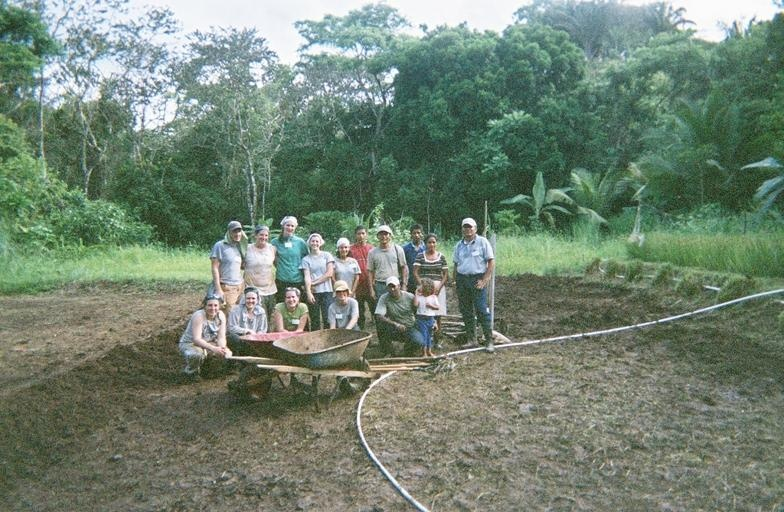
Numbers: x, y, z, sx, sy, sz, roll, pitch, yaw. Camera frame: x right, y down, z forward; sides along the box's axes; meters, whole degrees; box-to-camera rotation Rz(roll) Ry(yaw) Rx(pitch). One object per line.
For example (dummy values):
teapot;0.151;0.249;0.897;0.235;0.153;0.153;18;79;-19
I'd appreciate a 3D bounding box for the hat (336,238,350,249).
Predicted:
hat;-0.999;-0.296;14.577;0.237;0.237;0.321;-2;-9;-9

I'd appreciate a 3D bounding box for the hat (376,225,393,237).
hat;-0.146;-0.537;14.705;0.294;0.155;0.414;3;0;0

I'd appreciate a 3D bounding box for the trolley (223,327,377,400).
trolley;-1.609;2.049;12.920;2.508;0.917;1.285;-2;5;-16
